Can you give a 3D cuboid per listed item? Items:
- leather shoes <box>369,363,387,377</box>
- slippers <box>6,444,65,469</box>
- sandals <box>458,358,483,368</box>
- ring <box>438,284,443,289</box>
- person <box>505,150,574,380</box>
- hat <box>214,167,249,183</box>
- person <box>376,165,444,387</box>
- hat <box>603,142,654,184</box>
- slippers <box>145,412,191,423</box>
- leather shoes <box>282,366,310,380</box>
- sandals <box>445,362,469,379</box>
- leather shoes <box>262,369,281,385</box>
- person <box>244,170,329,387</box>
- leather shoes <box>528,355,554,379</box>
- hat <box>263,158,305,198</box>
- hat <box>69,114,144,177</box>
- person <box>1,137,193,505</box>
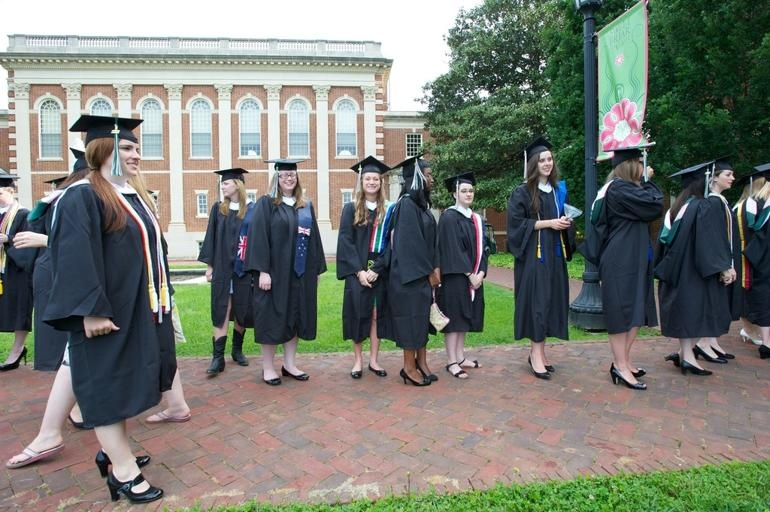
[{"bbox_3d":[-0.104,1.574,8.234,0.104,0.076,0.278,0,6,-40],"label":"leather shoes"},{"bbox_3d":[-3.675,2.097,6.266,0.549,0.156,0.229,-3,3,-30],"label":"slippers"},{"bbox_3d":[1.192,1.517,8.438,0.241,0.094,0.121,-1,6,4],"label":"sandals"},{"bbox_3d":[0.780,0.415,8.214,0.062,0.053,0.015,-2,19,-13],"label":"ring"},{"bbox_3d":[2.126,0.007,8.106,0.879,3.199,0.660,-1,5,11],"label":"person"},{"bbox_3d":[-2.235,-1.192,8.794,0.569,0.172,0.519,0,3,-3],"label":"hat"},{"bbox_3d":[0.331,0.185,7.903,0.828,2.997,0.533,-3,5,-13],"label":"person"},{"bbox_3d":[3.268,-1.245,7.930,0.519,0.504,0.464,0,5,22],"label":"hat"},{"bbox_3d":[-2.543,1.883,6.910,0.454,0.100,0.179,3,-7,-6],"label":"slippers"},{"bbox_3d":[-1.231,1.587,8.120,0.400,0.135,0.149,1,3,18],"label":"leather shoes"},{"bbox_3d":[0.972,1.543,8.137,0.194,0.178,0.384,-5,6,-38],"label":"sandals"},{"bbox_3d":[-1.521,1.597,7.961,0.260,0.183,0.302,-3,5,-11],"label":"leather shoes"},{"bbox_3d":[-1.348,0.189,8.034,1.016,2.959,0.554,-3,5,-17],"label":"person"},{"bbox_3d":[2.129,1.561,8.122,0.166,0.209,0.512,0,-5,-12],"label":"leather shoes"},{"bbox_3d":[-1.426,-1.086,8.215,0.595,0.542,0.574,-2,4,-16],"label":"hat"},{"bbox_3d":[-2.835,-1.138,6.181,0.677,0.520,0.564,3,-18,-43],"label":"hat"},{"bbox_3d":[-2.763,0.555,5.990,1.188,3.759,0.844,-5,6,-31],"label":"person"}]
